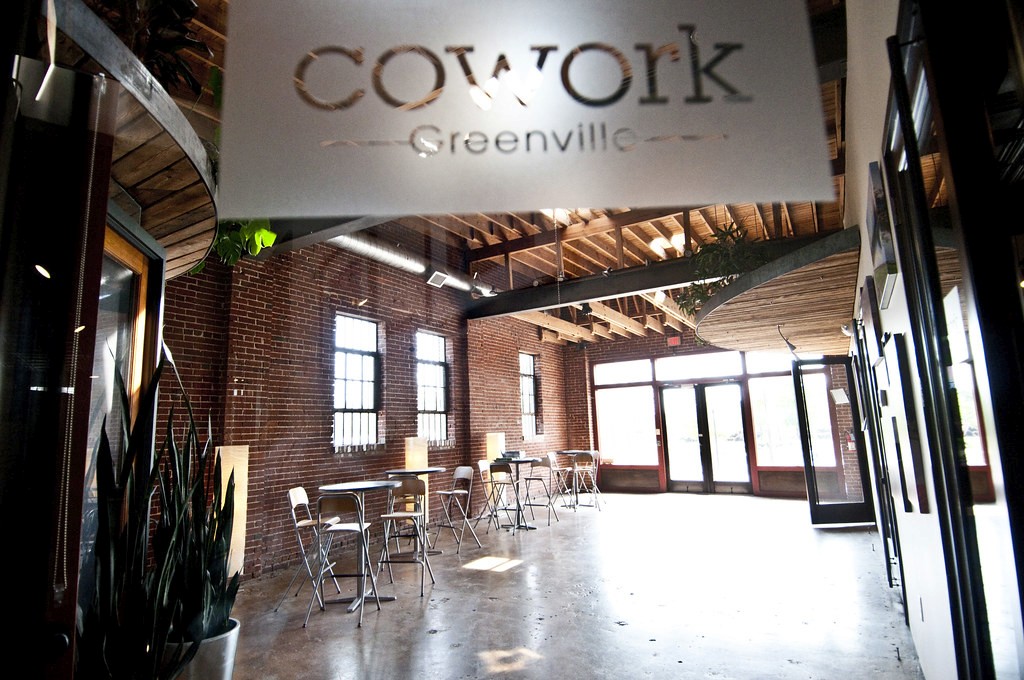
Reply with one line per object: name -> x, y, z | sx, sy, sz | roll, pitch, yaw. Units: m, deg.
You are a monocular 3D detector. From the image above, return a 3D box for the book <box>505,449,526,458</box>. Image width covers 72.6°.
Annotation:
book -> 0.066, 1.606, 9.911 | 0.205, 0.084, 0.234 | 0, -1, 11
